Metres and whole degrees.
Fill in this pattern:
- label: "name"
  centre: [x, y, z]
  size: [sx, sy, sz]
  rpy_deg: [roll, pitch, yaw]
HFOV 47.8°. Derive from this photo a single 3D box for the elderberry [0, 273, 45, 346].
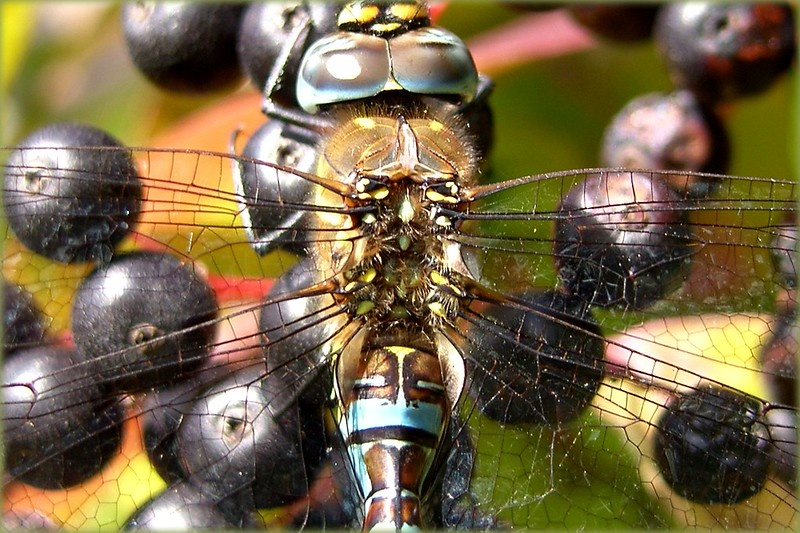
- label: "elderberry"
  centre: [-0.732, 0.094, 1.741]
  size: [0.082, 0.105, 0.098]
  rpy_deg: [-10, 28, -12]
